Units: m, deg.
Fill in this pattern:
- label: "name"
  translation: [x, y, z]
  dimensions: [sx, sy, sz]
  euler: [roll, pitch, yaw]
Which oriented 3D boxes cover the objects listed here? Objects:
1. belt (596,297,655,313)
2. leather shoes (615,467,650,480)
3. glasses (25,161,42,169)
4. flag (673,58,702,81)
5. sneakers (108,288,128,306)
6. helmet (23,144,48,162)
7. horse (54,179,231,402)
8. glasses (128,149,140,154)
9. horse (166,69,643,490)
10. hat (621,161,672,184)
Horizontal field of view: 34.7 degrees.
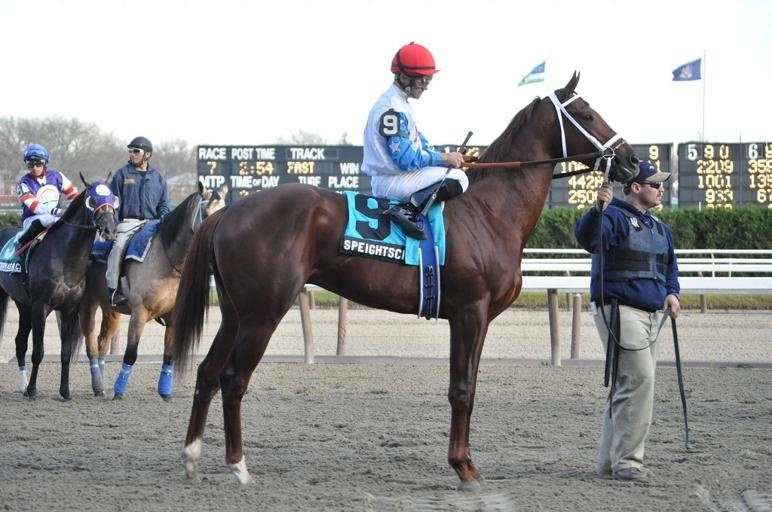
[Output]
- label: "belt"
  translation: [2.255, 0.452, 11.371]
  dimensions: [0.265, 0.071, 0.239]
  euler: [12, 2, -3]
- label: "leather shoes"
  translation: [2.222, 1.982, 11.209]
  dimensions: [0.316, 0.122, 0.141]
  euler: [-5, -37, 8]
- label: "glasses"
  translation: [-3.956, -1.023, 13.942]
  dimensions: [0.098, 0.040, 0.106]
  euler: [0, -15, -3]
- label: "flag"
  translation: [6.199, -3.818, 25.440]
  dimensions: [0.584, 0.420, 0.311]
  euler: [5, 9, 25]
- label: "sneakers"
  translation: [-2.940, 0.459, 13.710]
  dimensions: [0.204, 0.222, 0.142]
  euler: [-2, 5, 17]
- label: "helmet"
  translation: [-3.980, -1.165, 14.035]
  dimensions: [0.228, 0.189, 0.478]
  euler: [-2, 9, -19]
- label: "horse"
  translation: [-2.767, 0.470, 13.890]
  dimensions: [2.963, 2.344, 0.847]
  euler: [-6, -9, 44]
- label: "glasses"
  translation: [-2.897, -1.190, 14.140]
  dimensions: [0.142, 0.057, 0.087]
  euler: [9, 12, 42]
- label: "horse"
  translation: [0.208, 0.282, 11.538]
  dimensions: [4.323, 3.792, 1.031]
  euler: [-1, 1, -6]
- label: "hat"
  translation: [2.482, -0.757, 11.515]
  dimensions: [0.317, 0.174, 0.211]
  euler: [-1, 10, 6]
